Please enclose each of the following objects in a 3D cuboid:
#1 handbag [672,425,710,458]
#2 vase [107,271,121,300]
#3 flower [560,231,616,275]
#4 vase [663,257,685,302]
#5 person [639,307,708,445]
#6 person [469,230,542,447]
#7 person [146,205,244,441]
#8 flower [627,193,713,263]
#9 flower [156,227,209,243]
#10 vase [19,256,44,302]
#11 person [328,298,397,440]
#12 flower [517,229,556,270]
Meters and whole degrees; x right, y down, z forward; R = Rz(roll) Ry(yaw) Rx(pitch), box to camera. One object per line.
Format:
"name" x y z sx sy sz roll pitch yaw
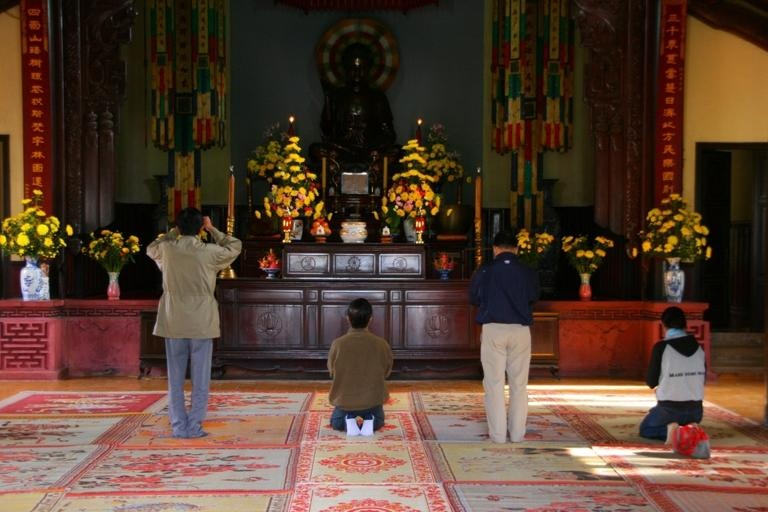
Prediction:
"handbag" 2.262 1.377 6.220 0.174 0.179 0.289 0 6 -8
"vase" -2.824 0.308 8.721 0.124 0.314 0.457 -3 10 -18
"flower" 2.154 -0.033 8.913 0.562 0.382 0.562 -1 1 12
"vase" 2.911 0.233 8.437 0.205 0.452 0.197 3 10 15
"person" 2.195 0.921 6.416 0.449 1.028 0.376 5 11 27
"person" 0.964 0.625 6.557 0.518 1.580 0.507 -3 11 -19
"person" -1.487 0.514 6.564 0.625 1.760 0.486 -4 11 -21
"flower" 2.919 -0.279 8.641 0.739 0.592 0.736 1 1 2
"flower" -1.675 -0.175 6.984 0.298 0.102 0.288 0 -6 0
"vase" -3.514 0.218 8.353 0.214 0.431 0.169 -4 11 -21
"person" -0.191 0.868 6.532 0.481 1.057 0.244 0 10 -3
"flower" 1.647 -0.091 9.254 0.563 0.349 0.539 1 1 -5
